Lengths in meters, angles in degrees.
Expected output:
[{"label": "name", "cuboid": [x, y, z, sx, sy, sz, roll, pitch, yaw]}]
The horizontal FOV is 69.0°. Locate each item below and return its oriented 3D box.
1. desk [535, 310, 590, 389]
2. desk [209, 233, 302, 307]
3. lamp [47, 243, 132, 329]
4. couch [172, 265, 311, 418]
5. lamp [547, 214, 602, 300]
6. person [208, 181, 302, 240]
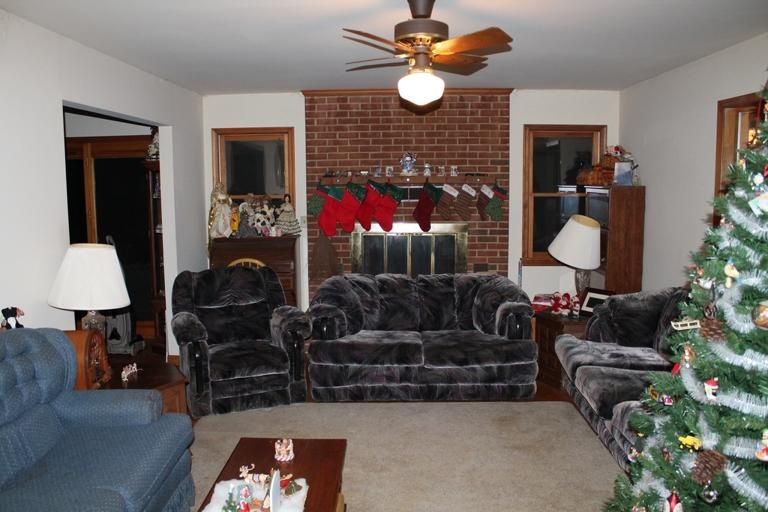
[{"label": "desk", "cuboid": [1.823, 0.948, 5.586, 0.474, 0.665, 0.702, -1, 1, -8]}, {"label": "desk", "cuboid": [-1.387, 0.146, 5.918, 0.888, 0.786, 0.292, 0, 1, -1]}, {"label": "lamp", "cuboid": [-2.098, 0.159, 4.083, 0.513, 0.484, 0.501, 0, 0, -2]}, {"label": "couch", "cuboid": [-1.358, 0.717, 5.331, 1.192, 1.119, 1.324, -1, 2, -18]}, {"label": "lamp", "cuboid": [1.861, -0.132, 5.461, 0.459, 0.522, 0.232, -1, 5, 7]}, {"label": "person", "cuboid": [-1.530, -0.543, 6.640, 1.052, 0.615, 0.257, -2, 5, -6]}]
